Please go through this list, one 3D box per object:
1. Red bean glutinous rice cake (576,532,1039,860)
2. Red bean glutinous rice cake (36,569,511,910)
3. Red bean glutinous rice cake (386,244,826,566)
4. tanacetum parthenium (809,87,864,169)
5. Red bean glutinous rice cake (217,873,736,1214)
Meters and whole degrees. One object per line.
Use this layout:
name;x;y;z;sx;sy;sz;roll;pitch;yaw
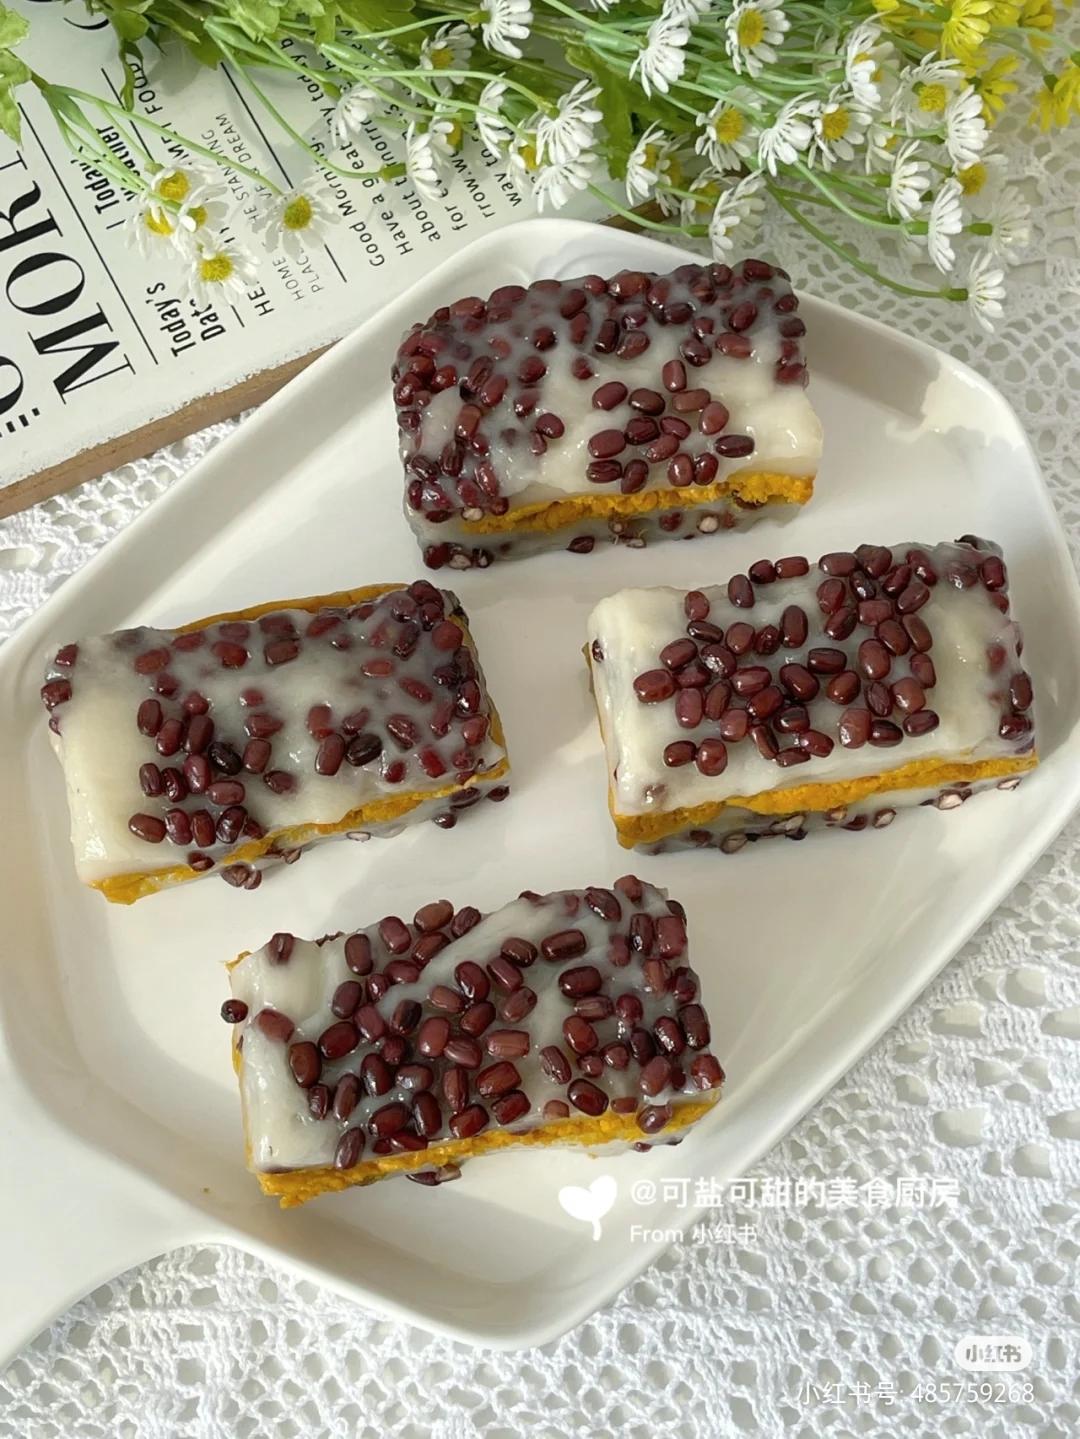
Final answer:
Red bean glutinous rice cake;0.408;-0.037;1.977;0.714;0.251;0.378;-6;85;5
Red bean glutinous rice cake;-0.401;0.022;2.115;0.797;0.280;0.401;-11;85;-7
Red bean glutinous rice cake;0.100;-0.522;2.199;0.700;0.323;0.391;-9;71;0
tanacetum parthenium;0.453;-0.933;2.064;0.116;0.111;0.047;-38;66;-7
Red bean glutinous rice cake;-0.104;0.454;1.856;0.798;0.248;0.369;-7;79;-1
